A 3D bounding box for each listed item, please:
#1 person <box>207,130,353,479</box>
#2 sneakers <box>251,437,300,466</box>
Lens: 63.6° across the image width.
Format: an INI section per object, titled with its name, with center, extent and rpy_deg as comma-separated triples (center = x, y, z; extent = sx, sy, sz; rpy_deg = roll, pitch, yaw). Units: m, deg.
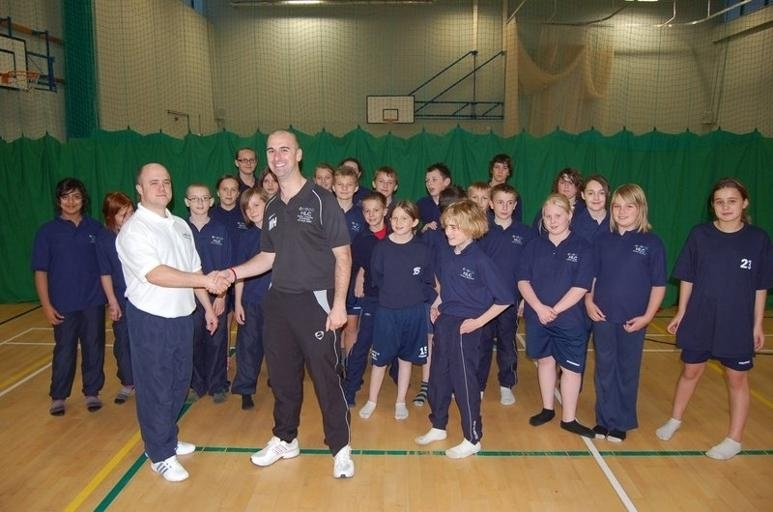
[person]
center = -0.965, 0.562, 6.934
extent = 1.144, 3.813, 0.695
rpy_deg = 0, 14, 10
[sneakers]
center = -1.267, 2.245, 7.181
extent = 0.595, 0.280, 0.238
rpy_deg = -4, 6, -28
